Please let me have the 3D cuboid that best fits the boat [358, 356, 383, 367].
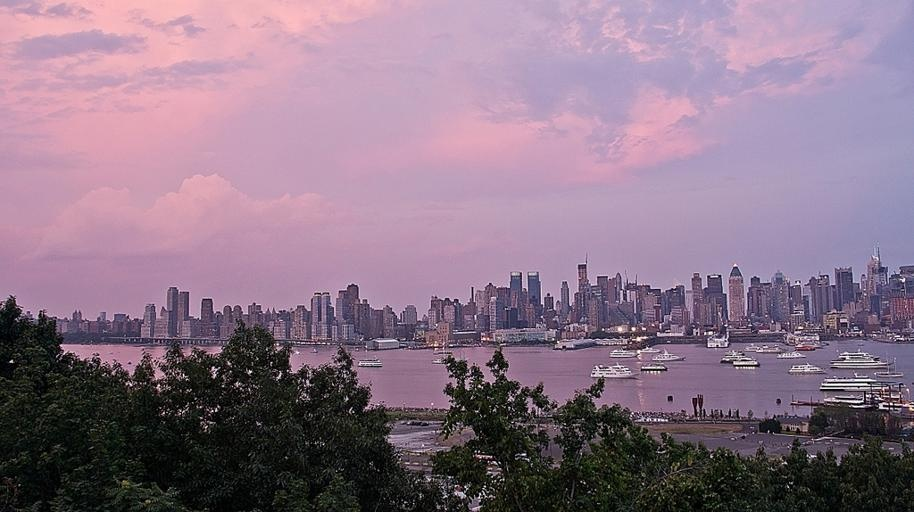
[{"bbox_3d":[-25.978,31.914,397.787,6.411,2.137,3.933,-1,-2,9],"label":"boat"}]
